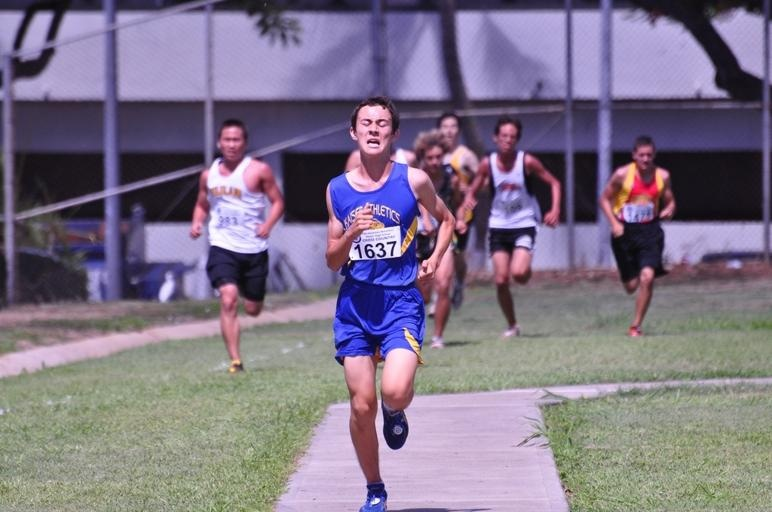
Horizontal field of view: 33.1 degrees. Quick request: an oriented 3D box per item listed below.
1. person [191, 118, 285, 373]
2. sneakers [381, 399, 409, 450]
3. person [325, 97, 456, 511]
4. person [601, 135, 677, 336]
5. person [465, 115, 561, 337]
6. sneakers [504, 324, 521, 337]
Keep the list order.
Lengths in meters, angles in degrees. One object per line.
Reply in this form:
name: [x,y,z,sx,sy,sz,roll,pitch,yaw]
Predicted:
person: [-1.252,-0.076,10.977,0.772,1.887,0.443,-3,1,-6]
sneakers: [0.060,1.087,8.243,0.118,0.350,0.148,-2,24,11]
person: [0.004,0.294,8.203,0.737,2.170,0.505,-3,1,-3]
person: [1.971,-0.149,10.101,0.552,1.142,0.318,-2,1,13]
person: [1.114,-0.409,10.579,0.602,1.314,0.914,-2,1,7]
sneakers: [0.980,0.592,9.957,0.147,0.110,0.050,3,-1,13]
